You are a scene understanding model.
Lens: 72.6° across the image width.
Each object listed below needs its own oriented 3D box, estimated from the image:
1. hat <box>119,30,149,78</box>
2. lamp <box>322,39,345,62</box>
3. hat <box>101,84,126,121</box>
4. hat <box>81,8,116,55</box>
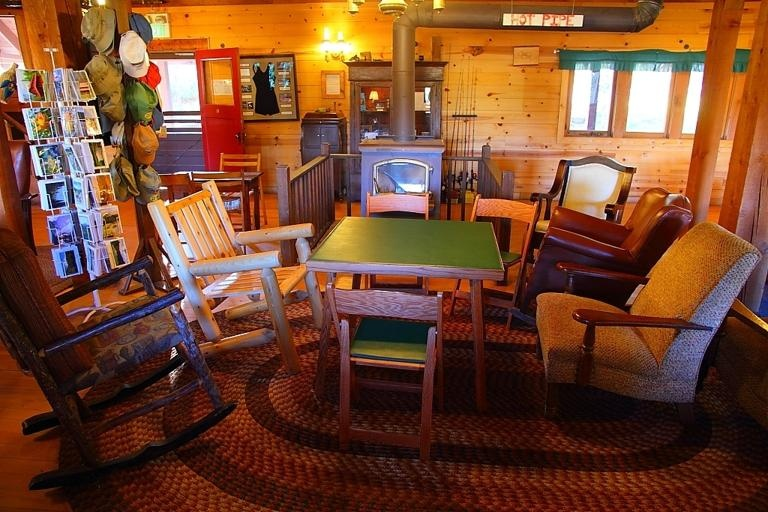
[{"bbox_3d":[-1.800,-1.443,3.777,0.188,0.322,0.150,-9,23,-23],"label":"hat"},{"bbox_3d":[-0.721,-2.933,7.576,0.401,0.288,0.261,1,21,4],"label":"lamp"},{"bbox_3d":[-1.970,-1.129,3.822,0.177,0.222,0.125,-24,52,-29],"label":"hat"},{"bbox_3d":[-2.035,-1.616,3.760,0.218,0.331,0.236,-9,23,-24],"label":"hat"}]
